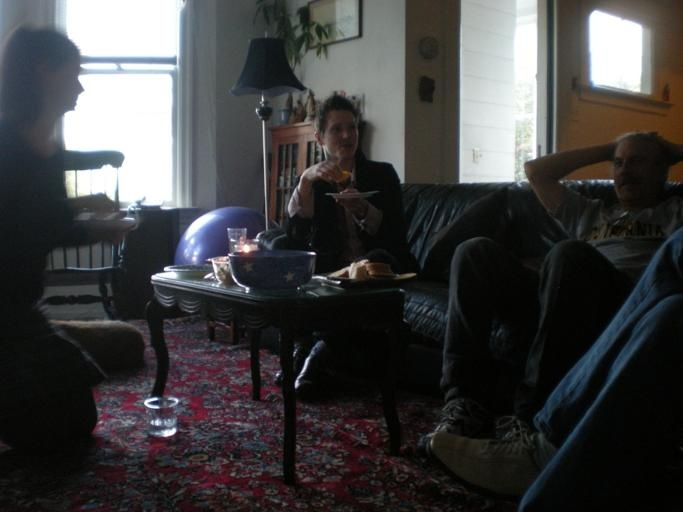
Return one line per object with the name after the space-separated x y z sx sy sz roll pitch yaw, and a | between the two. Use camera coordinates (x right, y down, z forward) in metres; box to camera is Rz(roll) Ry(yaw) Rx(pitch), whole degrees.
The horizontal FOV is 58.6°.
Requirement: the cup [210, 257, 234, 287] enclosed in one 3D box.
-0.431 0.058 2.250 0.102 0.076 0.084 -1 -2 -10 | cup

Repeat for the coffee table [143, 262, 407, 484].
-0.239 0.541 2.236 0.616 0.640 1.066 1 0 -32 | coffee table

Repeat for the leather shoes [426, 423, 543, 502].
0.416 0.598 1.875 0.379 0.176 0.144 20 13 -2 | leather shoes
